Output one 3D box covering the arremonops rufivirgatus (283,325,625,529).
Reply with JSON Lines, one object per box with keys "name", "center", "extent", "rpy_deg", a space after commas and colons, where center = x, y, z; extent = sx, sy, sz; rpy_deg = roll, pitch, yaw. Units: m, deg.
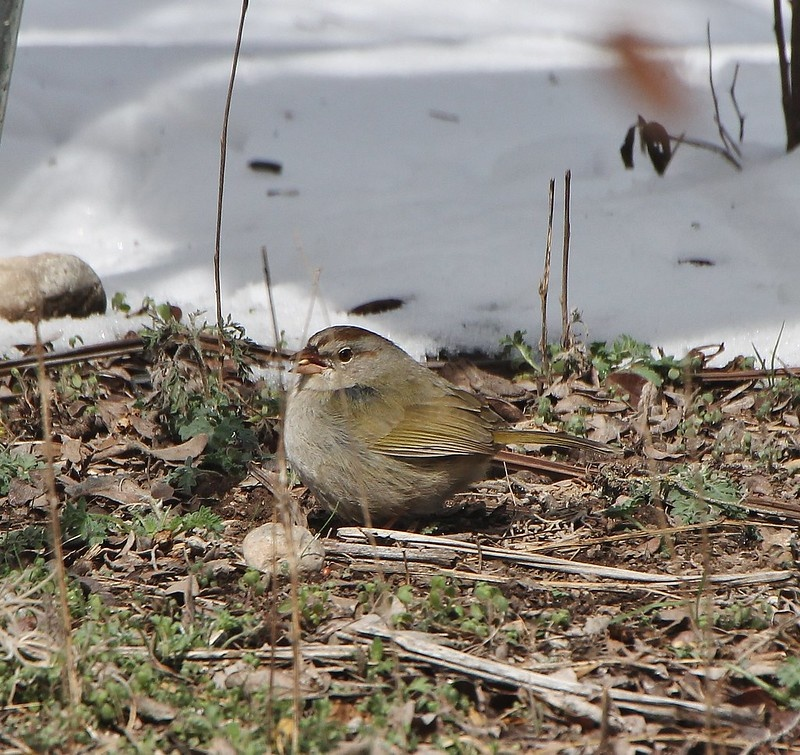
{"name": "arremonops rufivirgatus", "center": [0.014, 0.225, 5.085], "extent": [1.164, 0.893, 0.748], "rpy_deg": [-7, 18, -6]}
